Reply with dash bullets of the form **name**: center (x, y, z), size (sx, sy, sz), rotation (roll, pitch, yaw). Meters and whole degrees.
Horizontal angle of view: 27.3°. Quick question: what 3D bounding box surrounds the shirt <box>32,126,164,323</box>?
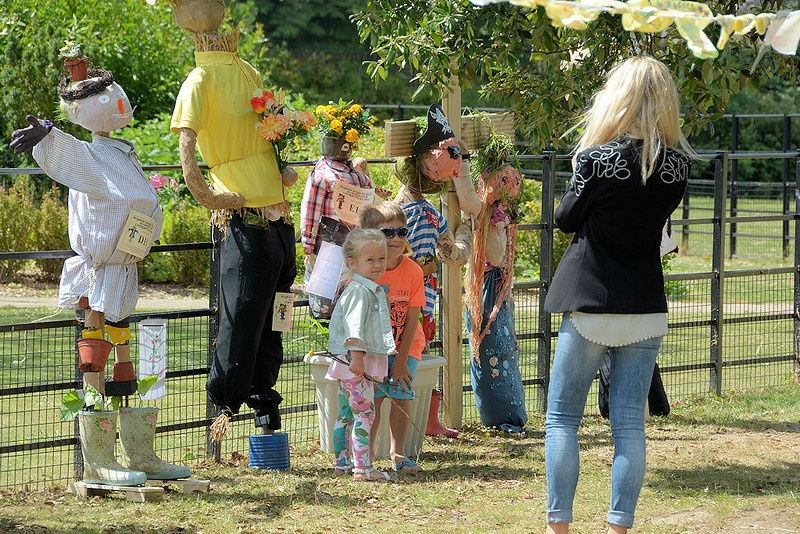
- **shirt**: center (-2.668, -0.296, 14.401), size (0.722, 1.732, 2.158), rotation (-2, -2, 17)

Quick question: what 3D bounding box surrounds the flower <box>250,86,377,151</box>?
- **flower**: center (-0.738, -1.211, 13.510), size (0.527, 0.361, 0.687), rotation (9, 5, 42)

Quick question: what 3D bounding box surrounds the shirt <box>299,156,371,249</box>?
- **shirt**: center (-0.524, -0.516, 13.576), size (0.323, 0.572, 0.635), rotation (8, 19, 30)

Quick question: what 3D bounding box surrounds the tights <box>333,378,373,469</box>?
- **tights**: center (-0.386, 1.275, 13.452), size (0.356, 0.765, 0.241), rotation (-1, 3, 9)

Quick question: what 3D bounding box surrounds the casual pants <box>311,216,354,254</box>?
- **casual pants**: center (-0.549, -0.277, 13.532), size (0.196, 0.260, 0.150), rotation (27, 1, -18)

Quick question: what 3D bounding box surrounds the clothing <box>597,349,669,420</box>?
- **clothing**: center (2.153, 1.073, 14.975), size (0.486, 0.880, 0.680), rotation (-2, -10, 29)

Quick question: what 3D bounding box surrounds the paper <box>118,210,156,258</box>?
- **paper**: center (-2.101, -0.279, 13.012), size (0.040, 0.286, 0.287), rotation (10, -16, 42)

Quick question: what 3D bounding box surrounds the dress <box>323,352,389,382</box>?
- **dress**: center (-0.356, 0.787, 13.348), size (0.331, 0.185, 0.264), rotation (-2, -2, -2)
